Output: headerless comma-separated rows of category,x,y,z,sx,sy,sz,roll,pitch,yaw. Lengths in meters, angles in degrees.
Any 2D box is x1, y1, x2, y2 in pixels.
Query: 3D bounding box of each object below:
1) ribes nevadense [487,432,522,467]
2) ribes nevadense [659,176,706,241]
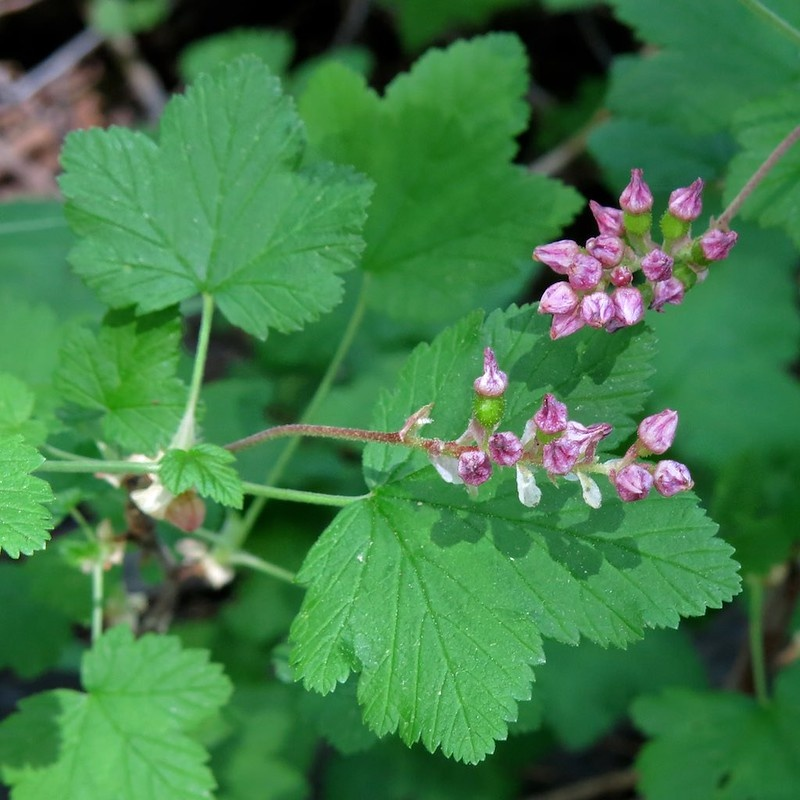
ribes nevadense,0.186,0.095,1.572,0.062,0.110,0.046,3,44,6
ribes nevadense,0.563,-0.391,1.775,0.069,0.129,0.096,10,45,14
